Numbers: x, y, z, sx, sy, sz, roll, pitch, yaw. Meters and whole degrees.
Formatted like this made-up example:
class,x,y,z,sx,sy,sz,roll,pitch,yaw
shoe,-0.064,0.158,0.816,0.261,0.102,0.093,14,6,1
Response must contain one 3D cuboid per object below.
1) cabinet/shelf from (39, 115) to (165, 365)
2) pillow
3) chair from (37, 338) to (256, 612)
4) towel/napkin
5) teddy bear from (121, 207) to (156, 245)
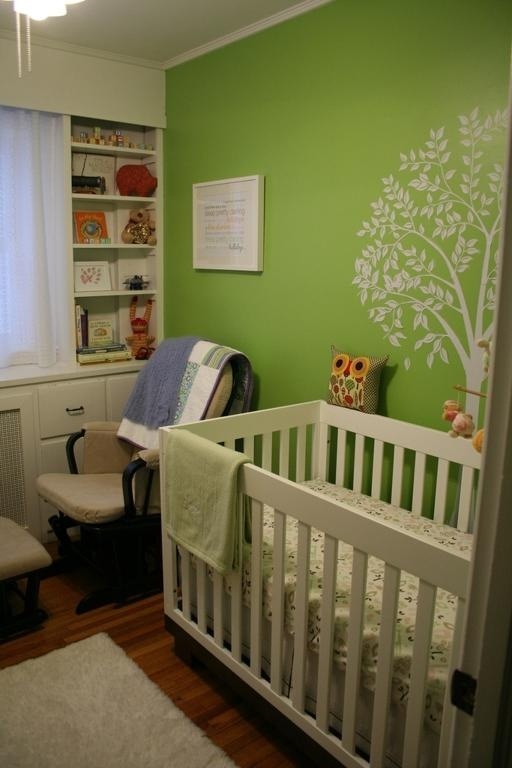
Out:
class,x,y,z,sx,sy,sz,roll,pitch,yaw
cabinet/shelf,-0.820,-0.846,3.318,0.444,0.152,1.230,10,-28,-10
pillow,0.357,-0.011,2.138,0.226,0.215,0.083,12,6,40
chair,-0.545,0.326,2.913,1.015,1.435,0.969,-2,7,-38
towel/napkin,-0.145,0.326,1.694,0.116,0.320,0.312,-11,18,-42
teddy bear,-0.651,-0.878,3.250,0.195,0.205,0.117,-8,27,-35
